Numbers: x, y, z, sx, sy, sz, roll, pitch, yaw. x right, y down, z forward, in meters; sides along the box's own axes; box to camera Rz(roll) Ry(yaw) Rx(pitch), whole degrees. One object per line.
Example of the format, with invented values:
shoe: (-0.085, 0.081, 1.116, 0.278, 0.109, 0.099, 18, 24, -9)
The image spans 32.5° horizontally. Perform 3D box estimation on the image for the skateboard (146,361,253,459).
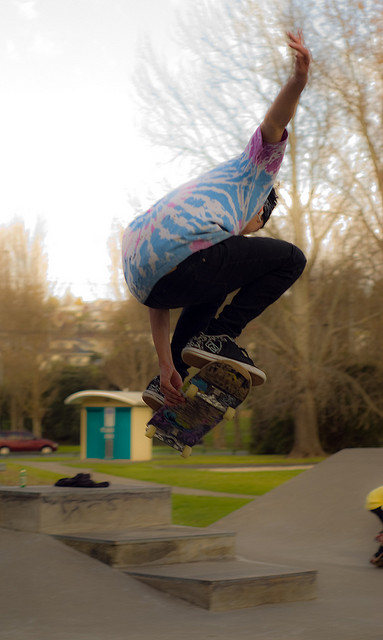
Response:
skateboard: (0.014, 0.563, 3.963, 0.360, 0.156, 0.939, 35, -46, -10)
